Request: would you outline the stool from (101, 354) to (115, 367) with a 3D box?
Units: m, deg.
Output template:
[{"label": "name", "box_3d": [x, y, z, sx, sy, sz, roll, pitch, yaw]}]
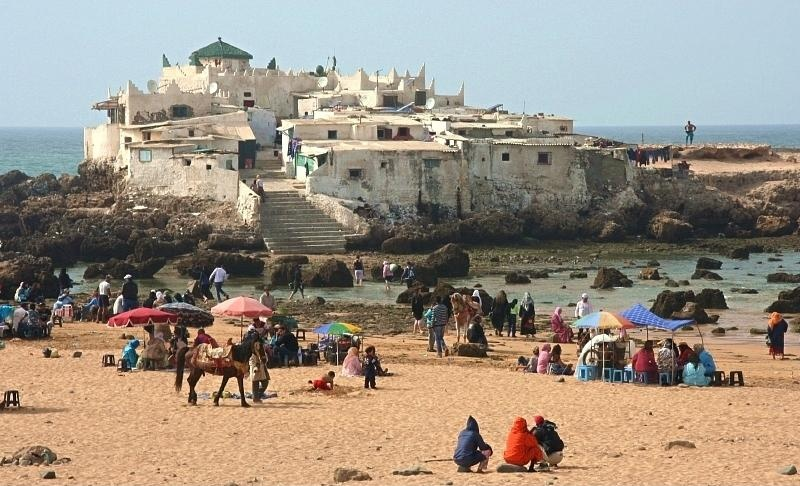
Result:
[{"label": "stool", "box_3d": [-11.375, 4.512, 60.042, 0.470, 0.439, 0.469, -1, 3, 5]}]

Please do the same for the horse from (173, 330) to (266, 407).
[{"label": "horse", "box_3d": [-6.662, 4.597, 57.002, 3.395, 2.671, 1.149, 1, 5, 15]}]

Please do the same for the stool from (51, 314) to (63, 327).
[{"label": "stool", "box_3d": [-14.689, 3.232, 65.887, 0.428, 0.548, 0.425, -1, 4, 4]}]

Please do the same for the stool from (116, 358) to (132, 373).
[{"label": "stool", "box_3d": [-10.663, 4.668, 59.561, 0.480, 0.498, 0.581, -5, 4, -14]}]

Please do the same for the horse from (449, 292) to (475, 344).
[{"label": "horse", "box_3d": [2.654, 3.112, 63.564, 0.980, 2.112, 3.131, -3, -6, 14]}]
